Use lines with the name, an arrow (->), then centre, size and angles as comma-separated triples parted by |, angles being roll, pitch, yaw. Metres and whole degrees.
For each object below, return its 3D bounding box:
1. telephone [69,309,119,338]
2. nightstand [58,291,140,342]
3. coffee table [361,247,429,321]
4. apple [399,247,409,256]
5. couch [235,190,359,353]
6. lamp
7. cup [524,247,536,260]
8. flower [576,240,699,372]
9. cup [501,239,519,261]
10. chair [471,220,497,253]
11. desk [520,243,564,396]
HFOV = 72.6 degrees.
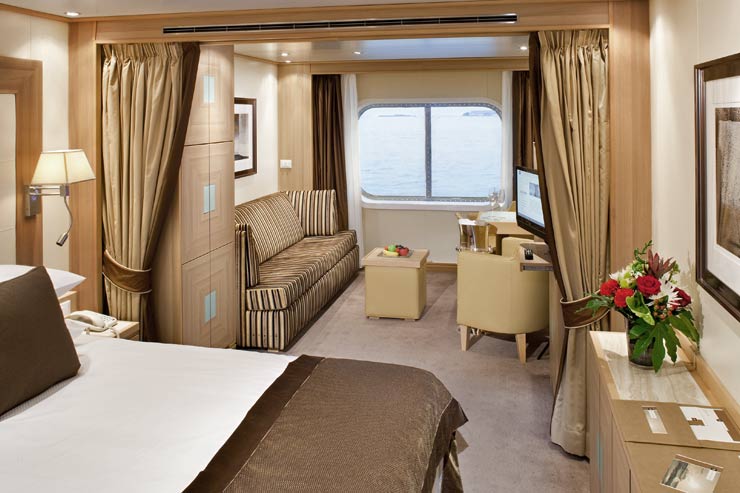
telephone -> -2.049, 0.567, 3.768 | 0.338, 0.123, 0.259 | 20, 5, -5
nightstand -> -2.098, 0.633, 4.011 | 0.429, 0.277, 0.418 | 9, -3, -23
coffee table -> 0.274, 0.390, 5.717 | 0.675, 0.717, 0.725 | 0, 5, 4
apple -> 0.388, 0.051, 5.797 | 0.080, 0.052, 0.091 | -3, 12, 0
couch -> -0.977, 0.146, 6.229 | 0.953, 1.412, 2.825 | -2, 12, 12
lamp -> -2.311, -0.338, 3.696 | 0.320, 0.717, 0.424 | 1, 8, 41
cup -> 1.365, 0.058, 4.293 | 0.073, 0.143, 0.127 | 4, 13, 18
flower -> 1.435, 0.243, 2.739 | 0.553, 0.625, 0.576 | 10, 18, 39
cup -> 1.358, 0.025, 4.893 | 0.161, 0.189, 0.171 | -1, 7, 0
chair -> 1.105, -0.125, 5.017 | 0.253, 0.306, 0.279 | -9, 17, 1
desk -> 1.451, 0.597, 4.278 | 0.306, 0.690, 1.136 | 0, 6, 8
